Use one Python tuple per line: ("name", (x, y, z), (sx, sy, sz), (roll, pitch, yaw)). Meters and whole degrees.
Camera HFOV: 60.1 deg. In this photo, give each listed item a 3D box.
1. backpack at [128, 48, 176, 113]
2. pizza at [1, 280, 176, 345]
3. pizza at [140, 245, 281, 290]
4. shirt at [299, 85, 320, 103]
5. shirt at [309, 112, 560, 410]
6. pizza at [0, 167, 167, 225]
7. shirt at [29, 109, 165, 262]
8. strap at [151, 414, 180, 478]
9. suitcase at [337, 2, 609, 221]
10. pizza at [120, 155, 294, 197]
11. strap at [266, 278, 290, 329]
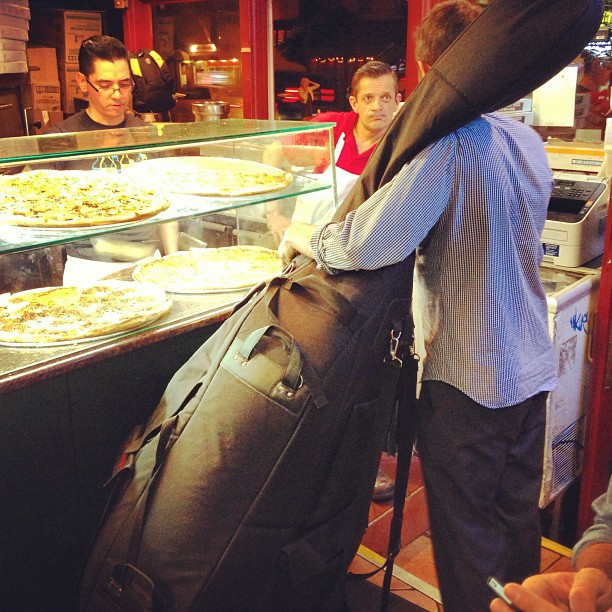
("backpack", (-1.485, -2.126, 4.961), (0.451, 0.573, 0.333), (-27, 44, -29))
("pizza", (-0.725, 0.008, 1.774), (0.522, 0.132, 0.396), (-5, 14, -26))
("pizza", (-0.374, -0.152, 2.136), (0.362, 0.037, 0.271), (-9, 22, -22))
("shirt", (0.044, -2.138, 5.408), (0.140, 0.177, 0.174), (-8, 8, -40))
("shirt", (0.338, -0.108, 1.225), (0.606, 0.681, 0.270), (-4, 15, -21))
("pizza", (-0.646, -0.336, 1.634), (0.518, 0.165, 0.175), (-8, 16, -36))
("shirt", (-0.740, -0.458, 1.976), (0.596, 0.532, 0.328), (-12, 28, -41))
("strap", (-0.354, 0.354, 1.332), (0.077, 0.153, 0.046), (-5, 16, -25))
("suitcase", (0.318, -0.416, 1.070), (0.120, 0.441, 0.272), (48, 43, 4))
("pizza", (-0.347, -0.465, 1.904), (0.353, 0.042, 0.238), (-1, 29, -18))
("strap", (-0.053, -0.010, 1.231), (0.027, 0.102, 0.060), (-4, -22, 21))
